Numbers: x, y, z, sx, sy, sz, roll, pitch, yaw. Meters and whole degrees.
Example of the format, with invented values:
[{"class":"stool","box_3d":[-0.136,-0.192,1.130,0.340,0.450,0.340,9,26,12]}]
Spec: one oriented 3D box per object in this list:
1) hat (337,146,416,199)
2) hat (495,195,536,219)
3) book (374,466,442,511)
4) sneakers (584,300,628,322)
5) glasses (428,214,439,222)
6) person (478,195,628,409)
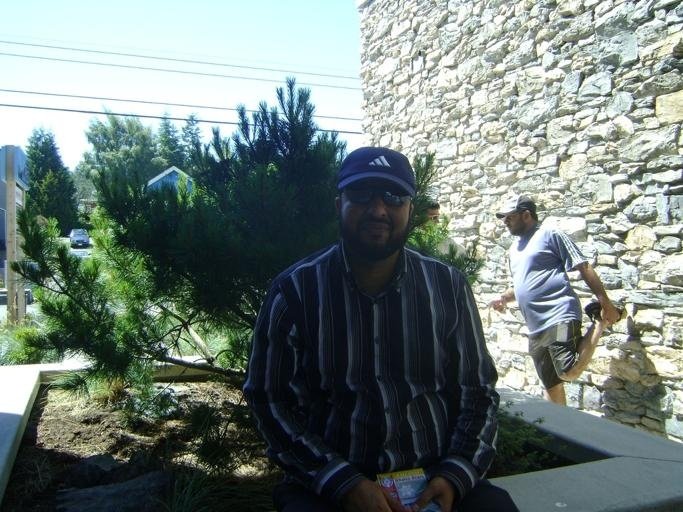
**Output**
[{"class":"hat","box_3d":[0.154,-0.397,2.298,0.384,0.211,0.391,6,9,11]},{"class":"hat","box_3d":[1.657,-0.487,4.749,0.400,0.234,0.270,2,2,5]},{"class":"book","box_3d":[0.264,0.952,2.036,0.228,0.108,0.133,-7,6,-18]},{"class":"sneakers","box_3d":[2.368,0.506,4.567,0.136,0.242,0.364,-10,3,-36]},{"class":"glasses","box_3d":[0.702,-0.300,3.884,0.071,0.077,0.024,-5,29,-39]},{"class":"person","box_3d":[2.069,0.443,4.739,1.119,2.383,1.088,10,-33,-5]}]
